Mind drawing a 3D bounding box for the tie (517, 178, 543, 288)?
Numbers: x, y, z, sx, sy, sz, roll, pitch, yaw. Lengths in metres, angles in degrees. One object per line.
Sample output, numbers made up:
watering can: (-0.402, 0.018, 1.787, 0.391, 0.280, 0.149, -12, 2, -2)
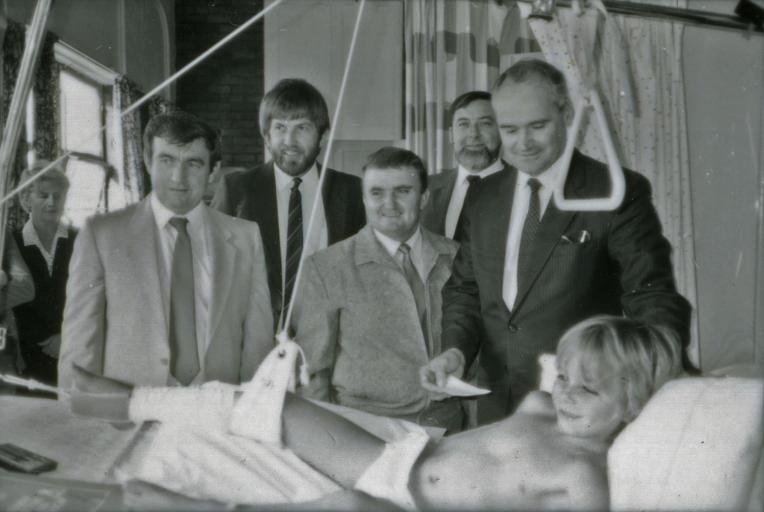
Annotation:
tie: (0.474, -0.065, 3.013, 0.056, 0.415, 0.040, 11, -10, -9)

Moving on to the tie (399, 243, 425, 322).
tie: (0.095, 0.078, 3.055, 0.053, 0.330, 0.035, -11, -1, 1)
